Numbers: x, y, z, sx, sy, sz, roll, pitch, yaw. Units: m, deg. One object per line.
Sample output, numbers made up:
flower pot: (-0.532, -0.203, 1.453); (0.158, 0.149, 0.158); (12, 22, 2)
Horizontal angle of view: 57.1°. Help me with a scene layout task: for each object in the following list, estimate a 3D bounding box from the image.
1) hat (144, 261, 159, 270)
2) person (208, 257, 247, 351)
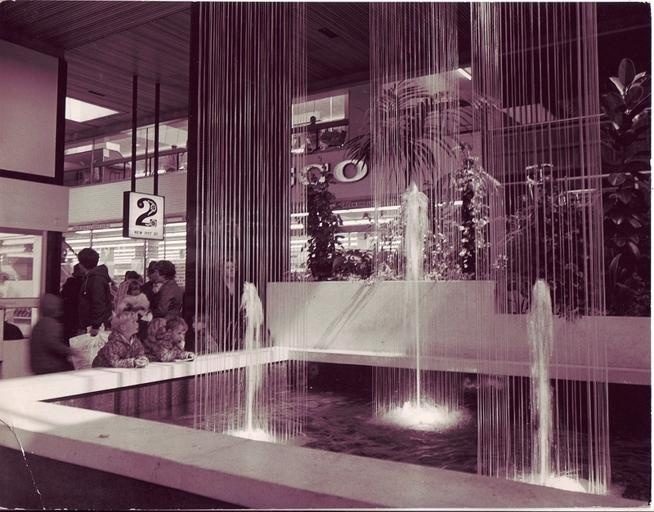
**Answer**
hat: (-1.625, 0.095, 5.632); (0.134, 0.056, 0.151); (-2, -2, 16)
person: (-0.835, 0.411, 5.010); (0.280, 0.806, 0.796); (-1, 5, -8)
